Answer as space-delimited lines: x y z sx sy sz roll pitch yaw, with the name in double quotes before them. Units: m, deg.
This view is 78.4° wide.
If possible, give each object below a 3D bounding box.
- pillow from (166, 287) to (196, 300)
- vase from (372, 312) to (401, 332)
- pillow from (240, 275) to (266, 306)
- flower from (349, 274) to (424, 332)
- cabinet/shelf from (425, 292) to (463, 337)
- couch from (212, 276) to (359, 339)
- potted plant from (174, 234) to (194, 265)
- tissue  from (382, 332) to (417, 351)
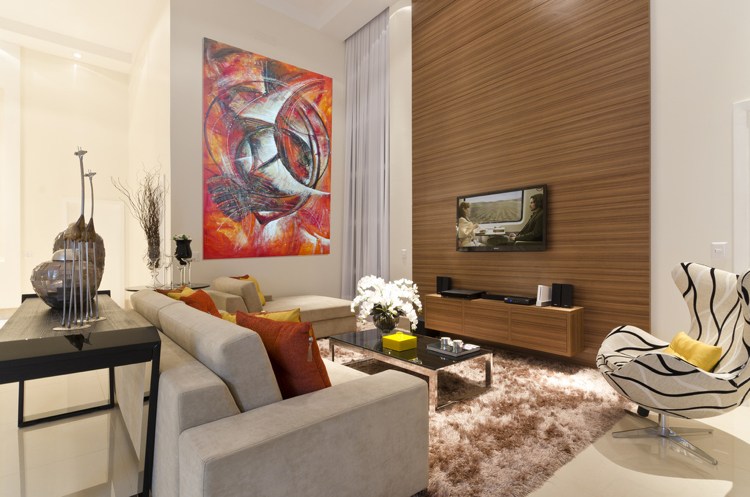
"pillow" -1.745 0.394 4.140 0.136 0.038 0.129 12 10 30
"vase" 0.128 0.750 4.764 0.225 0.151 0.211 6 -7 -32
"pillow" -1.532 0.531 5.935 0.163 0.381 0.394 -12 4 -11
"flower" 0.083 0.525 4.978 0.717 0.556 0.905 3 -4 -35
"cabinet/shelf" 0.916 0.829 5.964 0.239 0.511 0.663 1 -2 -41
"couch" -1.244 0.756 6.067 1.385 0.660 0.992 -1 0 -39
"potted plant" -2.460 0.013 5.859 0.197 0.375 0.325 -4 4 -24
"tissue " 0.232 0.924 4.611 0.203 0.086 0.206 2 2 44
